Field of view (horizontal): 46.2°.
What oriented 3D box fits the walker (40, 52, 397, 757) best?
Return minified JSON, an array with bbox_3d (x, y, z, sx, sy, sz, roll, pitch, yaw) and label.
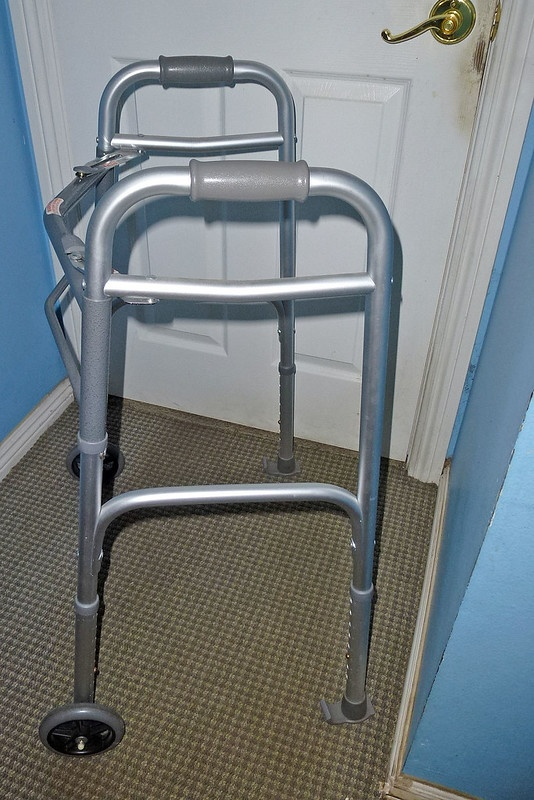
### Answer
[{"bbox_3d":[-0.077,0.011,1.078,0.339,0.616,0.929,-2,34,-8],"label":"walker"}]
